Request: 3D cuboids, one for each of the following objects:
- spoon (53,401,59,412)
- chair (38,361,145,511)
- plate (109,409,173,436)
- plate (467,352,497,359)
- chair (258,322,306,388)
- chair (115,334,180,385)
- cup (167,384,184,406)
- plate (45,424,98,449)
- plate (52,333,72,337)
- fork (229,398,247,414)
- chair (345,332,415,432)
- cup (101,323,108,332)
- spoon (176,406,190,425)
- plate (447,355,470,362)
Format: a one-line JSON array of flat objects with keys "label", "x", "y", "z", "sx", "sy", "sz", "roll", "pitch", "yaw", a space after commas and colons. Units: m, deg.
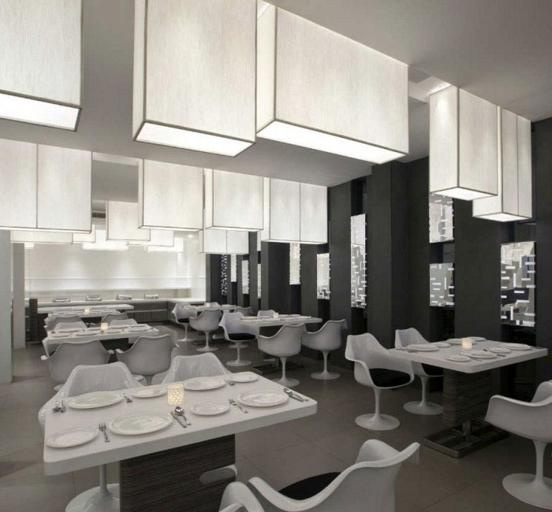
[{"label": "spoon", "x": -1.326, "y": 0.906, "z": 2.880, "sx": 0.046, "sy": 0.020, "sz": 0.035, "roll": 4, "pitch": 3, "yaw": 42}, {"label": "chair", "x": -1.303, "y": 1.244, "z": 3.531, "sx": 0.827, "sy": 1.247, "sz": 0.776, "roll": 2, "pitch": -6, "yaw": -25}, {"label": "plate", "x": -0.736, "y": 0.909, "z": 2.602, "sx": 0.332, "sy": 0.047, "sz": 0.274, "roll": 0, "pitch": 1, "yaw": -29}, {"label": "plate", "x": 1.790, "y": 0.860, "z": 4.147, "sx": 0.221, "sy": 0.022, "sz": 0.279, "roll": 0, "pitch": 1, "yaw": 35}, {"label": "chair", "x": 0.043, "y": 1.335, "z": 6.458, "sx": 0.694, "sy": 1.047, "sz": 0.637, "roll": 1, "pitch": -1, "yaw": -38}, {"label": "chair", "x": -1.388, "y": 1.056, "z": 5.240, "sx": 0.550, "sy": 0.823, "sz": 0.537, "roll": 1, "pitch": 1, "yaw": -34}, {"label": "cup", "x": -0.607, "y": 0.847, "z": 2.952, "sx": 0.098, "sy": 0.123, "sz": 0.110, "roll": 0, "pitch": -2, "yaw": 3}, {"label": "plate", "x": -1.039, "y": 0.925, "z": 2.440, "sx": 0.254, "sy": 0.038, "sz": 0.192, "roll": 0, "pitch": 1, "yaw": -29}, {"label": "plate", "x": -2.505, "y": 0.921, "z": 5.603, "sx": 0.173, "sy": 0.012, "sz": 0.354, "roll": 0, "pitch": 1, "yaw": -26}, {"label": "fork", "x": -0.230, "y": 0.878, "z": 2.861, "sx": 0.039, "sy": 0.040, "sz": 0.310, "roll": -4, "pitch": -3, "yaw": -14}, {"label": "chair", "x": 1.123, "y": 1.199, "z": 5.029, "sx": 0.801, "sy": 1.166, "sz": 0.707, "roll": 2, "pitch": -5, "yaw": -34}, {"label": "cup", "x": -2.095, "y": 0.861, "z": 5.791, "sx": 0.079, "sy": 0.098, "sz": 0.087, "roll": 0, "pitch": -2, "yaw": 6}, {"label": "spoon", "x": -0.530, "y": 0.895, "z": 2.682, "sx": 0.040, "sy": 0.025, "sz": 0.165, "roll": -5, "pitch": 2, "yaw": -20}, {"label": "plate", "x": 1.555, "y": 0.862, "z": 4.060, "sx": 0.183, "sy": 0.017, "sz": 0.256, "roll": 0, "pitch": 1, "yaw": 25}]
